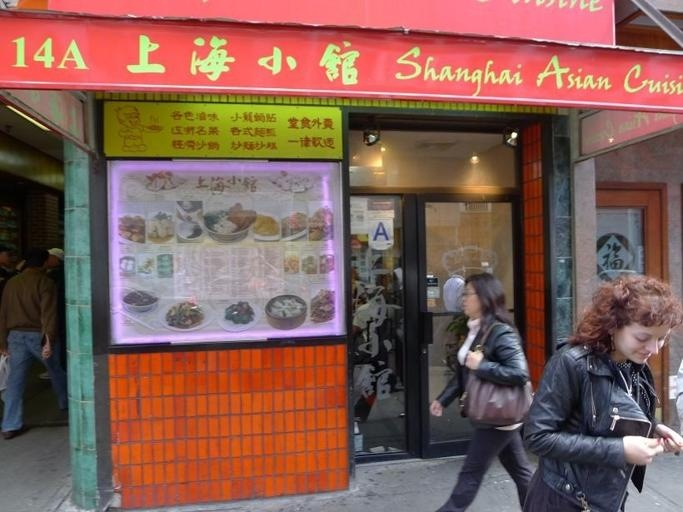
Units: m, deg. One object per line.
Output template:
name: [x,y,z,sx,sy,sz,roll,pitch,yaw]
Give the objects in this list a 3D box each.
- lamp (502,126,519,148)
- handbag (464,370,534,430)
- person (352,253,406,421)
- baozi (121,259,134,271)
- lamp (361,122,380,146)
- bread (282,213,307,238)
lamp: [1.715,-1.192,6.939,0.149,0.184,0.196,-2,-3,16]
handbag: [1.155,1.050,5.015,0.484,0.419,0.229,5,1,5]
person: [0.369,0.800,6.723,0.484,1.663,0.149,-1,-3,1]
baozi: [-1.821,0.080,5.883,0.103,0.093,0.025,-2,4,-21]
lamp: [0.286,-1.150,6.562,0.195,0.248,0.215,0,3,-8]
bread: [-0.415,-0.266,6.121,0.243,0.203,0.054,-4,3,-16]
